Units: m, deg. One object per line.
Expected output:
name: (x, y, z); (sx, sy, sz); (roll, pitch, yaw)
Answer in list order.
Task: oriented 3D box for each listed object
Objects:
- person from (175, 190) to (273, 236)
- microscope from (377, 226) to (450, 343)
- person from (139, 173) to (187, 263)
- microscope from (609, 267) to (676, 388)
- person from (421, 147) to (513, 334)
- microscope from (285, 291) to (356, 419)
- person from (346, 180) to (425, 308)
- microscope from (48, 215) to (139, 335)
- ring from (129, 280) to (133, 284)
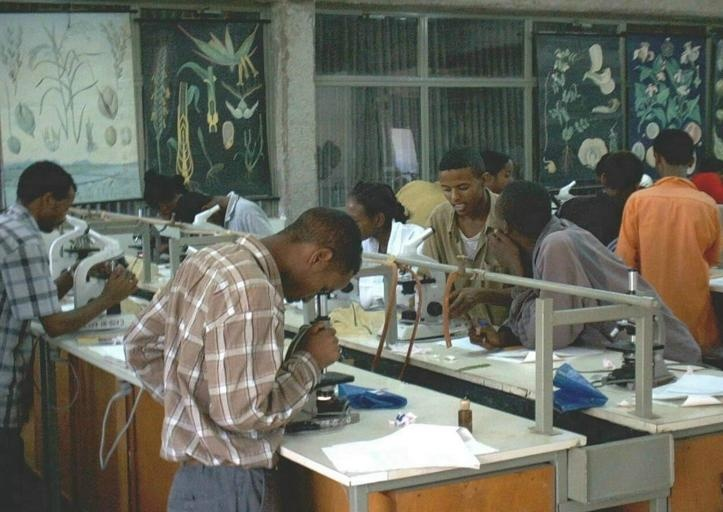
person: (-1.127, -0.347, 7.658); (1.054, 0.426, 0.380); (9, 11, 40)
microscope: (0.317, 0.181, 5.569); (0.411, 0.607, 0.325); (-1, 4, -26)
person: (-1.715, -0.497, 8.422); (0.405, 0.978, 0.408); (-7, 15, -29)
microscope: (1.337, 0.324, 4.580); (0.292, 0.570, 0.252); (-5, 8, -12)
person: (0.655, -0.151, 5.847); (0.394, 1.202, 0.429); (-1, 1, -15)
microscope: (-0.199, 0.430, 4.396); (0.295, 0.613, 0.215); (-1, 6, 2)
person: (0.156, -0.192, 6.281); (0.407, 0.907, 0.457); (6, 15, -1)
microscope: (-1.556, 0.211, 5.575); (0.388, 0.430, 0.708); (-1, 0, -25)
ring: (-1.350, 0.146, 5.670); (0.021, 0.022, 0.006); (4, -26, -10)
